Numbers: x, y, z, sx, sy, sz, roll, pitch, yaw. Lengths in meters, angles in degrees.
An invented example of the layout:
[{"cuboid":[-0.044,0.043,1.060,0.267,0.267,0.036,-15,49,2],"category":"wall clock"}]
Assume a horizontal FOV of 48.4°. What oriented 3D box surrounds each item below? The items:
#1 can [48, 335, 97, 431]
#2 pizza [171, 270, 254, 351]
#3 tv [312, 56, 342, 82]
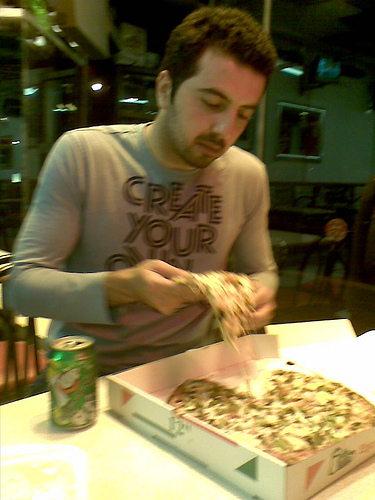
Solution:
[{"cuboid":[-0.221,0.261,0.806,0.090,0.186,0.092,5,13,-1],"category":"can"},{"cuboid":[0.097,0.141,1.195,0.098,0.168,0.249,-32,39,-5],"category":"pizza"},{"cuboid":[1.407,-1.843,4.223,0.303,0.229,0.037,6,18,-23],"category":"tv"}]
